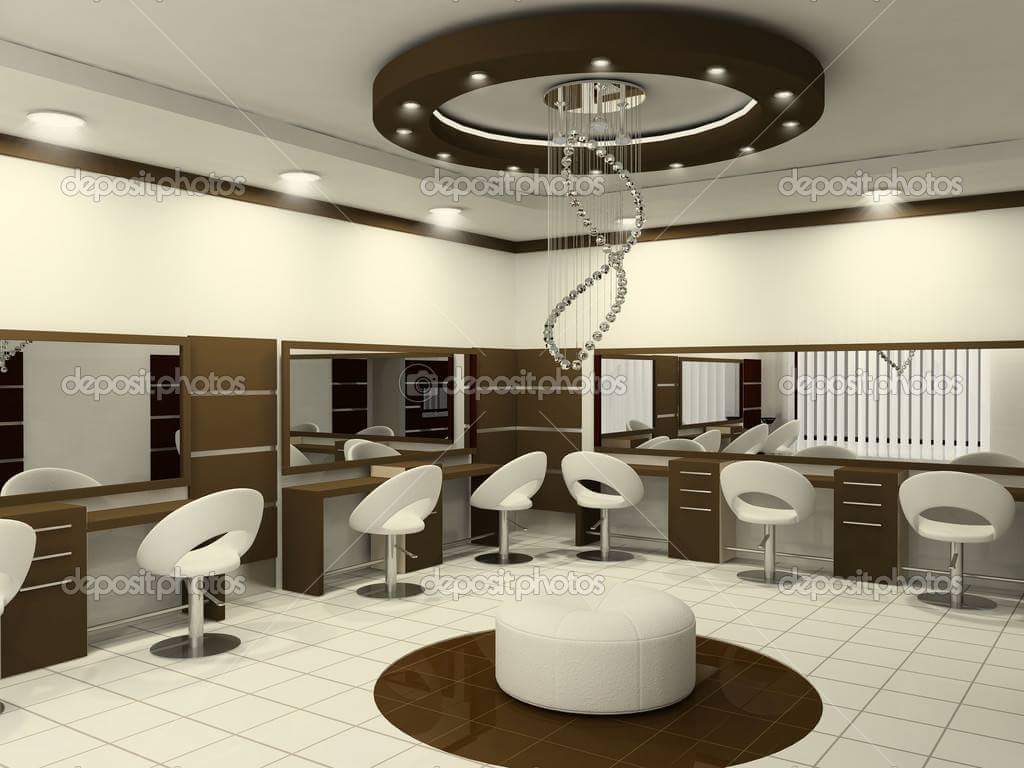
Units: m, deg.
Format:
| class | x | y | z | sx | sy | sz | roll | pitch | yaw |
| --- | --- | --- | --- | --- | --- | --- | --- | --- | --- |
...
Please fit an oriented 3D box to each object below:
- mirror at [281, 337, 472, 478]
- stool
| class | x | y | z | sx | sy | sz | roll | pitch | yaw |
| --- | --- | --- | --- | --- | --- | --- | --- | --- | --- |
| mirror | -1.300 | 0.221 | 6.452 | 0.068 | 0.841 | 1.738 | -3 | -3 | 39 |
| stool | 0.507 | 1.495 | 4.170 | 1.214 | 0.439 | 1.056 | 1 | -1 | -4 |
